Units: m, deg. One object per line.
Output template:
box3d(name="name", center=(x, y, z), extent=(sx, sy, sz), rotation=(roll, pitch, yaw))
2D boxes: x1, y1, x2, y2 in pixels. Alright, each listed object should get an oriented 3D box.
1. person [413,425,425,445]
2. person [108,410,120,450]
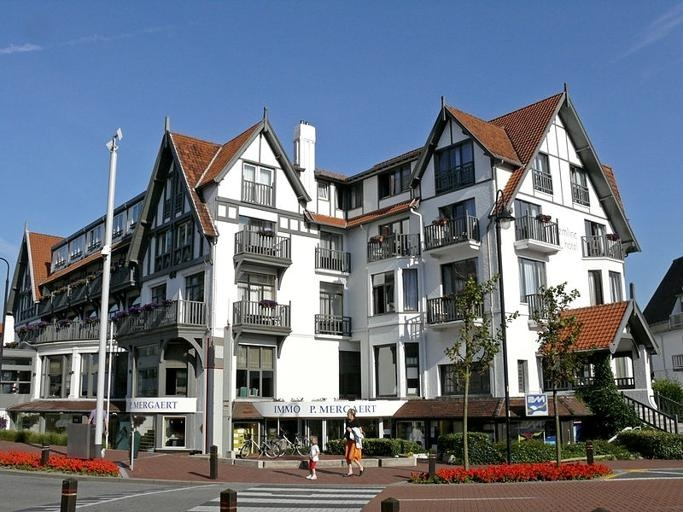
box3d(name="person", center=(4.105, 9.778, 37.924), extent=(0.809, 1.152, 0.200), rotation=(-15, -20, 37))
box3d(name="person", center=(-13.696, 10.484, 42.215), extent=(0.431, 2.109, 1.420), rotation=(8, -19, -32))
